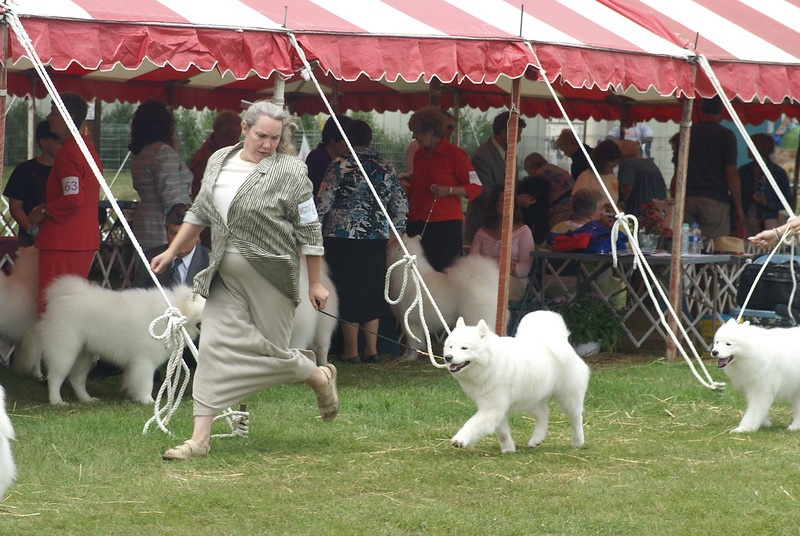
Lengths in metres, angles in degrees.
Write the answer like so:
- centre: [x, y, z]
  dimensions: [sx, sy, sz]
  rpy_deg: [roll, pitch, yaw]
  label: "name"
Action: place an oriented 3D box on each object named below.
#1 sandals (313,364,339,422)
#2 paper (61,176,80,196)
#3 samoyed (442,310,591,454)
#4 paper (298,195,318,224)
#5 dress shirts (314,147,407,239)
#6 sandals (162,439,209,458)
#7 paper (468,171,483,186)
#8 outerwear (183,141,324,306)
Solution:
- centre: [-0.627, 1.104, 13.034]
  dimensions: [0.173, 0.521, 0.221]
  rpy_deg: [-2, 11, 16]
  label: "sandals"
- centre: [-3.138, -0.798, 13.972]
  dimensions: [0.174, 0.170, 0.071]
  rpy_deg: [1, 4, 4]
  label: "paper"
- centre: [0.987, 1.006, 12.835]
  dimensions: [1.505, 1.249, 0.639]
  rpy_deg: [-2, 1, -29]
  label: "samoyed"
- centre: [-0.803, -0.513, 12.665]
  dimensions: [0.192, 0.206, 0.194]
  rpy_deg: [-5, 2, -8]
  label: "paper"
- centre: [-0.409, -0.834, 15.306]
  dimensions: [1.032, 0.935, 0.534]
  rpy_deg: [1, 9, -22]
  label: "dress shirts"
- centre: [-1.828, 1.530, 12.491]
  dimensions: [0.378, 0.153, 0.146]
  rpy_deg: [2, 2, -25]
  label: "sandals"
- centre: [0.792, -0.962, 15.634]
  dimensions: [0.149, 0.151, 0.039]
  rpy_deg: [-13, -10, -47]
  label: "paper"
- centre: [-1.270, -0.411, 12.796]
  dimensions: [1.350, 1.341, 0.837]
  rpy_deg: [4, 7, 19]
  label: "outerwear"
